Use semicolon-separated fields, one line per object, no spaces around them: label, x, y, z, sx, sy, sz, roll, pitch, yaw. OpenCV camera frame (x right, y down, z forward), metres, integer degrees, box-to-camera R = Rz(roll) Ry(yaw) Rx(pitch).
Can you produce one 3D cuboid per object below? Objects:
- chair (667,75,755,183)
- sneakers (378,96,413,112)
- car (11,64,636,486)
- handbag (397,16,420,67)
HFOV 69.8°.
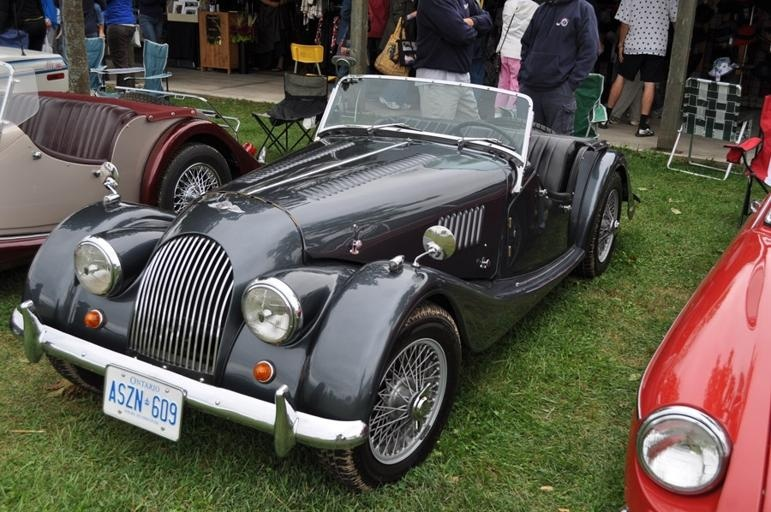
chair;4.527;-2.000;7.558;0.970;1.280;0.913;-29;43;-14
sneakers;0.081;-1.135;4.106;0.184;0.077;0.117;6;26;0
car;0.173;-0.280;3.882;1.972;1.487;3.838;16;33;32
handbag;0.309;-2.981;7.695;0.223;0.665;0.724;3;20;4
